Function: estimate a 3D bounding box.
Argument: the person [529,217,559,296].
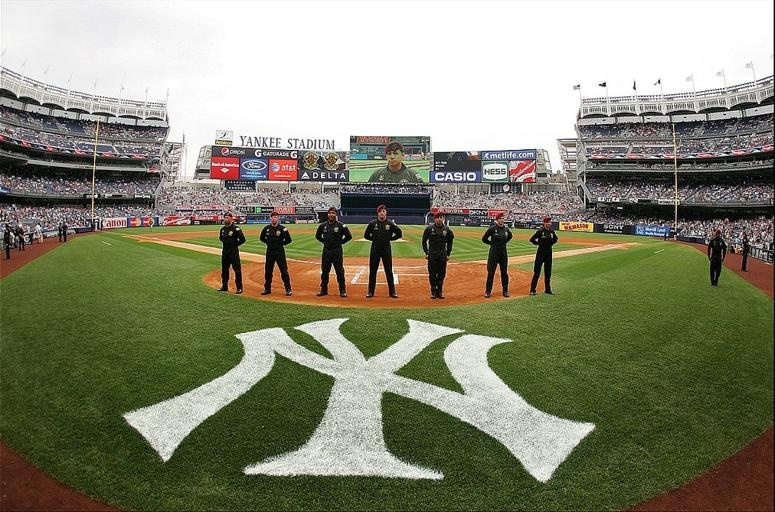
[{"bbox_3d":[4.081,0.004,13.823,0.617,2.076,1.533,4,12,17],"label":"person"}]
